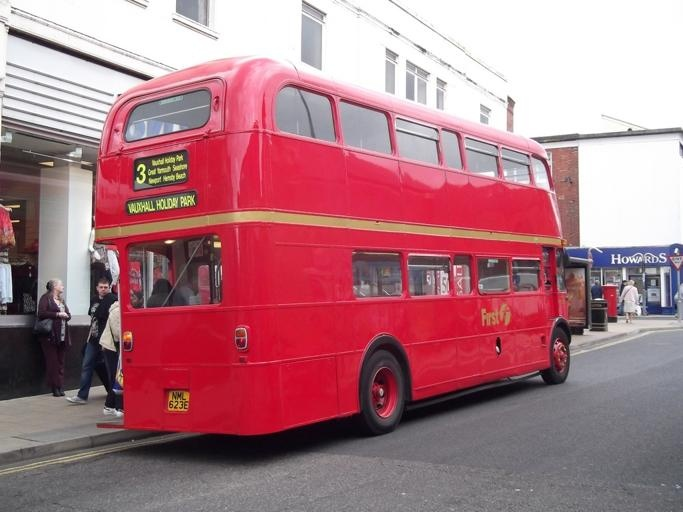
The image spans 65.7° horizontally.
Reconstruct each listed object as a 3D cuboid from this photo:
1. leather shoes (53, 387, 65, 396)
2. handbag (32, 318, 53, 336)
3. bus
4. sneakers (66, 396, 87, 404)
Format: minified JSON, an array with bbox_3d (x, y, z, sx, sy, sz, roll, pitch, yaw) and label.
[{"bbox_3d":[-5.892,2.820,11.009,0.293,0.236,0.105,-1,-2,25],"label":"leather shoes"},{"bbox_3d":[-6.079,1.441,10.711,0.323,0.345,0.126,0,-3,0],"label":"handbag"},{"bbox_3d":[1.150,0.195,10.102,10.507,5.712,2.660,1,-7,-42],"label":"bus"},{"bbox_3d":[-5.147,2.786,10.226,0.269,0.132,0.104,12,-1,3],"label":"sneakers"}]
